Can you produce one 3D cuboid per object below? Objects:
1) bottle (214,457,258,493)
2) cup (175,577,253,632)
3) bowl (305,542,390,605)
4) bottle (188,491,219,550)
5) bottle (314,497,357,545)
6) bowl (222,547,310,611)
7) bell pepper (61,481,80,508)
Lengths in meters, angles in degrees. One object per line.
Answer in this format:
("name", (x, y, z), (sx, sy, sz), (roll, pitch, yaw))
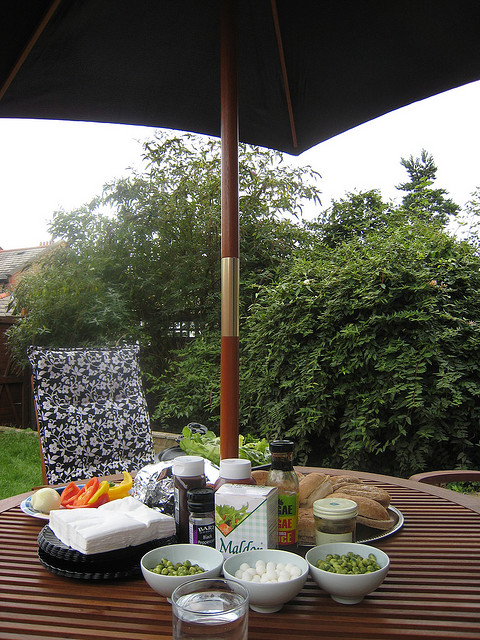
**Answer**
("bottle", (-0.008, 0.232, 0.824), (0.053, 0.046, 0.051), (0, 7, -4))
("cup", (-0.030, 0.303, 0.570), (0.077, 0.034, 0.070), (1, 3, -7))
("bowl", (0.141, 0.322, 0.724), (0.084, 0.039, 0.080), (0, -1, 0))
("bottle", (-0.052, 0.287, 0.770), (0.042, 0.102, 0.058), (1, 3, 1))
("bottle", (0.131, 0.285, 0.797), (0.065, 0.060, 0.061), (-1, 1, -10))
("bowl", (0.034, 0.338, 0.699), (0.109, 0.048, 0.104), (-2, 0, 0))
("bell pepper", (-0.335, 0.341, 1.050), (0.026, 0.035, 0.022), (43, 4, 31))
